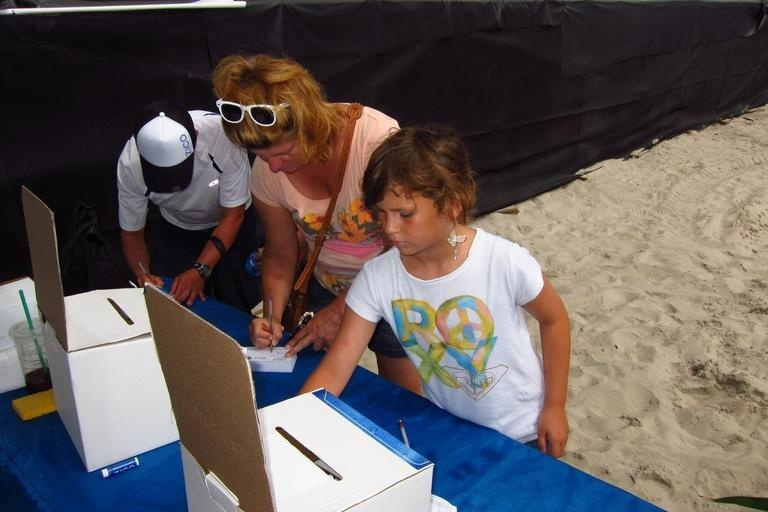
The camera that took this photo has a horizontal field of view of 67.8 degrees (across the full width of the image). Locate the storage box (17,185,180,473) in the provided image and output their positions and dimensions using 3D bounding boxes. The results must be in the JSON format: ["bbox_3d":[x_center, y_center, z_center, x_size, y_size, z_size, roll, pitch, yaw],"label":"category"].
[{"bbox_3d":[-0.984,0.211,2.102,0.601,0.888,0.630,0,16,-14],"label":"storage box"}]

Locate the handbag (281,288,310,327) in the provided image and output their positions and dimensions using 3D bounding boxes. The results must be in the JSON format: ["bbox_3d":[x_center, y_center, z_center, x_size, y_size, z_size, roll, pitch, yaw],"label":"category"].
[{"bbox_3d":[-0.393,0.224,2.515,0.057,0.151,0.106,19,23,-10],"label":"handbag"}]

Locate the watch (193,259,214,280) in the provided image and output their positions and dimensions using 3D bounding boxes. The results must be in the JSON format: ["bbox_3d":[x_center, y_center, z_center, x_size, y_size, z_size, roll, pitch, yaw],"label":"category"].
[{"bbox_3d":[-0.910,0.062,2.920,0.096,0.105,0.065,-22,5,40],"label":"watch"}]

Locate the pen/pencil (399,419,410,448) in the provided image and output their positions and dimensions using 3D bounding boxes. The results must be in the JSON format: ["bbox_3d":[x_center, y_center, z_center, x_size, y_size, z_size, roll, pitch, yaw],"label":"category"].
[{"bbox_3d":[0.060,0.602,1.983,0.017,0.016,0.153,-45,29,10],"label":"pen/pencil"}]

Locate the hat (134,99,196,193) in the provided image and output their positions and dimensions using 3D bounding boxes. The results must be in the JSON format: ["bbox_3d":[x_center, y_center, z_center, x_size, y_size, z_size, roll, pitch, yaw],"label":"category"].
[{"bbox_3d":[-1.018,-0.508,2.665,0.257,0.432,0.215,-3,-6,-11],"label":"hat"}]

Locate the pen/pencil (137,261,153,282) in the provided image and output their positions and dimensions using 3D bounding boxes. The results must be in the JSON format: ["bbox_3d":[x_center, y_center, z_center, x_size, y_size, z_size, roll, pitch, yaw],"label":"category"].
[{"bbox_3d":[-1.212,0.071,2.881,0.020,0.017,0.133,-23,54,-22],"label":"pen/pencil"}]
